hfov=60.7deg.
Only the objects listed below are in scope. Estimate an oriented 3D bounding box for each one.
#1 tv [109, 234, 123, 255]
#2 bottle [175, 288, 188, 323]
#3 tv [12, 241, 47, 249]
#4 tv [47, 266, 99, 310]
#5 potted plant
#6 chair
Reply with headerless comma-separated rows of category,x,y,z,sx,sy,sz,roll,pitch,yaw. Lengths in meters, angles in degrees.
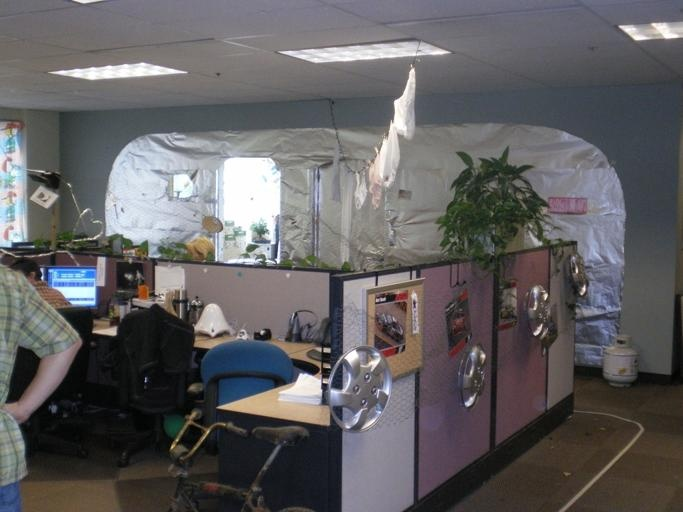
tv,-2.204,-0.108,5.738,0.126,0.156,0.605,-2,7,-22
bottle,-1.378,0.432,5.028,0.108,0.249,0.113,-1,0,0
tv,-3.126,-0.110,5.881,0.336,0.072,0.407,-2,7,-27
tv,-2.521,0.302,5.478,0.457,0.386,0.046,3,-9,-40
potted plant,1.151,-0.321,4.147,0.950,1.085,0.832,7,10,37
chair,-1.179,0.851,3.695,1.259,0.665,0.691,0,-3,34
